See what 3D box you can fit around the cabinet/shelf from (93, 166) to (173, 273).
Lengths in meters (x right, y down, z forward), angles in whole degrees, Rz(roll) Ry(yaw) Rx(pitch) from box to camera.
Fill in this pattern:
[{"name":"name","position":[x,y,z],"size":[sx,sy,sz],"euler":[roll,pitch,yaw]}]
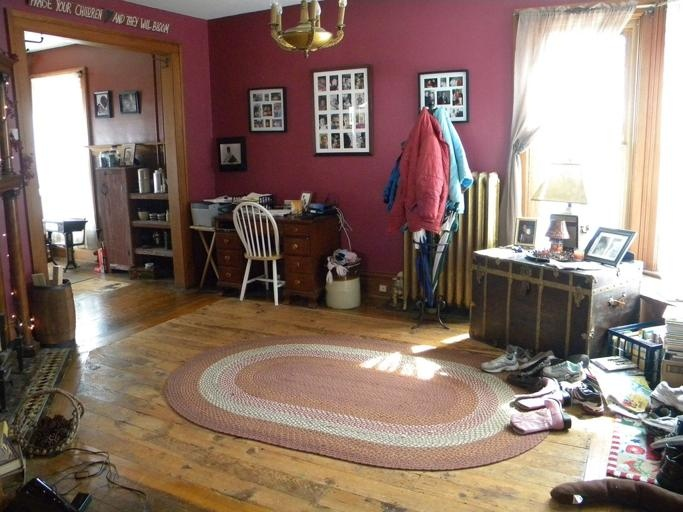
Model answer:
[{"name":"cabinet/shelf","position":[-2.556,-0.445,6.877],"size":[1.222,1.343,0.524],"euler":[5,13,30]}]

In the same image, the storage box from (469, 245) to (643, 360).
[{"name":"storage box","position":[1.686,0.368,4.398],"size":[0.721,0.721,1.091],"euler":[-8,12,-33]}]

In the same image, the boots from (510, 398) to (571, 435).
[{"name":"boots","position":[1.222,0.991,3.370],"size":[0.251,0.083,0.197],"euler":[-6,12,-3]}]

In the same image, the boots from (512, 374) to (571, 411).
[{"name":"boots","position":[1.321,0.923,3.569],"size":[0.270,0.081,0.203],"euler":[-19,16,-25]}]

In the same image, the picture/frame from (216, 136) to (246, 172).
[{"name":"picture/frame","position":[-1.267,-1.198,6.305],"size":[0.410,0.409,0.044],"euler":[5,11,29]}]

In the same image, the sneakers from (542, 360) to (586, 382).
[{"name":"sneakers","position":[1.549,0.790,3.774],"size":[0.235,0.093,0.125],"euler":[1,10,23]}]

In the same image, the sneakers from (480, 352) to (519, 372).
[{"name":"sneakers","position":[1.183,0.791,4.067],"size":[0.288,0.133,0.117],"euler":[-3,2,-8]}]

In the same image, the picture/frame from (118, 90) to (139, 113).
[{"name":"picture/frame","position":[-2.632,-1.925,6.745],"size":[0.319,0.264,0.041],"euler":[3,9,34]}]

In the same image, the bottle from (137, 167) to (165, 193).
[{"name":"bottle","position":[-2.321,-0.922,6.646],"size":[0.256,0.301,0.520],"euler":[-10,14,-39]}]

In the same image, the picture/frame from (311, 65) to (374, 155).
[{"name":"picture/frame","position":[0.036,-1.546,5.639],"size":[0.927,1.129,0.079],"euler":[4,14,25]}]

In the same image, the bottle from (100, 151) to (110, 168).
[{"name":"bottle","position":[-3.036,-1.240,6.968],"size":[0.112,0.201,0.347],"euler":[-6,12,-23]}]

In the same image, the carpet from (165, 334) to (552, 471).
[{"name":"carpet","position":[0.084,0.974,3.773],"size":[2.430,0.207,1.301],"euler":[3,11,19]}]

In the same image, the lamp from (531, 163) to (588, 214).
[{"name":"lamp","position":[1.702,-0.573,4.286],"size":[0.399,0.397,0.419],"euler":[6,14,23]}]

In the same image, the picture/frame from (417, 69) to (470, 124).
[{"name":"picture/frame","position":[0.977,-1.498,5.081],"size":[0.633,0.608,0.062],"euler":[6,10,29]}]

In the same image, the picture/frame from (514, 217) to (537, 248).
[{"name":"picture/frame","position":[1.526,-0.191,4.496],"size":[0.230,0.313,0.036],"euler":[6,4,40]}]

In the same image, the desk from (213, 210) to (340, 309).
[{"name":"desk","position":[-0.721,-0.011,5.831],"size":[1.126,0.837,0.587],"euler":[4,15,18]}]

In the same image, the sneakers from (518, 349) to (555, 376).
[{"name":"sneakers","position":[1.418,0.778,3.938],"size":[0.260,0.084,0.151],"euler":[-27,4,8]}]

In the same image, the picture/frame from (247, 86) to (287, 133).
[{"name":"picture/frame","position":[-0.809,-1.644,6.031],"size":[0.530,0.502,0.061],"euler":[3,8,25]}]

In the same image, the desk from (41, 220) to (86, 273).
[{"name":"desk","position":[-3.507,-0.142,6.882],"size":[0.663,0.629,0.354],"euler":[4,6,40]}]

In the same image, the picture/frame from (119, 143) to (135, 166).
[{"name":"picture/frame","position":[-2.659,-1.268,6.798],"size":[0.207,0.262,0.064],"euler":[4,1,29]}]
